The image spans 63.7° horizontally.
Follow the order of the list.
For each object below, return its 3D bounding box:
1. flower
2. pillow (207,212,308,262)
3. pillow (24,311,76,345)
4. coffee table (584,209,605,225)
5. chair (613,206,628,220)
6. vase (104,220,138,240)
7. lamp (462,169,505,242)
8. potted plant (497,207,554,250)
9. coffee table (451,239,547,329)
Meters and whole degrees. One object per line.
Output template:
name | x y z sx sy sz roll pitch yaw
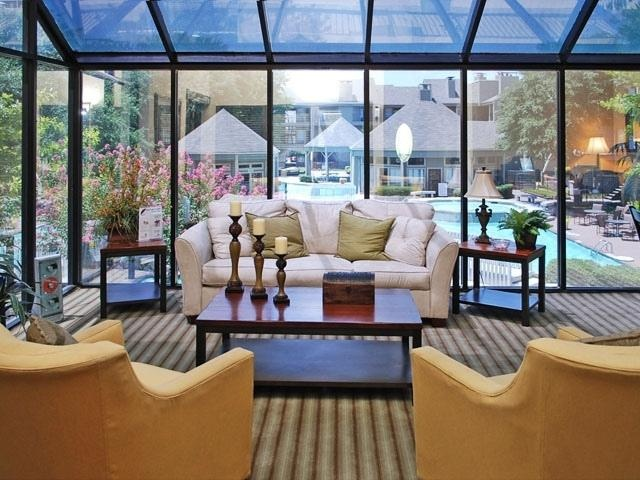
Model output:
flower | -2.012 -0.479 5.388 0.666 0.752 0.515 1 9 -6
pillow | -0.605 -0.030 4.975 0.687 0.504 0.200 3 -32 -9
pillow | -1.132 0.388 2.211 0.149 0.054 0.173 24 -5 -1
coffee table | 3.012 -0.252 5.652 0.173 0.205 0.172 6 10 36
chair | 3.287 -0.304 5.644 0.141 0.184 0.143 -1 1 -33
vase | -1.935 -0.083 5.053 0.285 0.189 0.180 0 -1 -19
lamp | 1.652 -0.366 5.255 0.320 0.750 0.710 2 9 16
potted plant | 1.998 -0.113 5.033 0.423 0.297 0.425 -1 -1 38
coffee table | 1.759 0.385 5.200 1.061 0.971 0.783 3 6 35
